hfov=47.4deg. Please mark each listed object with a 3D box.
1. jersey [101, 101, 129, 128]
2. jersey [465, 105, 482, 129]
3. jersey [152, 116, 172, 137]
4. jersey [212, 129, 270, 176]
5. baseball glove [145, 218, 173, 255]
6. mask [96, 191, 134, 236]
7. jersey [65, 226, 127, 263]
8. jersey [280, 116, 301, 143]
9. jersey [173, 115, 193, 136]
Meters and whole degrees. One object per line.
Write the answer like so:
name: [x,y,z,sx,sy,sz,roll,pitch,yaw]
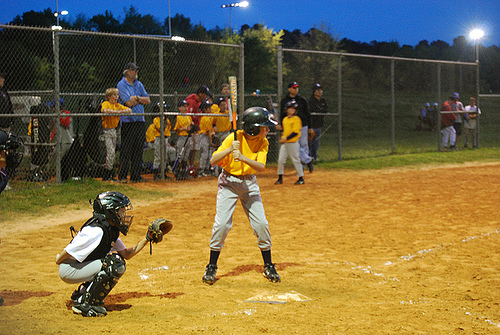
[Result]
jersey: [-3.643,-1.462,14.886,0.722,0.751,0.425,0,34,-44]
jersey: [9.139,-2.062,23.290,0.539,0.985,0.927,4,9,21]
jersey: [-2.531,-1.296,16.383,0.444,0.836,0.834,0,12,-4]
jersey: [-0.068,-0.259,9.873,0.780,0.827,0.244,15,-2,-5]
baseball glove: [-1.439,1.002,8.966,0.410,0.406,0.250,-7,11,-40]
mask: [-2.151,0.667,8.880,0.639,0.640,0.503,7,5,-17]
jersey: [-2.388,1.108,8.952,0.881,0.684,0.586,-3,0,28]
jersey: [1.093,-1.030,14.954,0.682,0.776,0.416,4,4,39]
jersey: [-1.946,-1.256,16.741,0.683,0.696,0.269,-6,23,-26]
